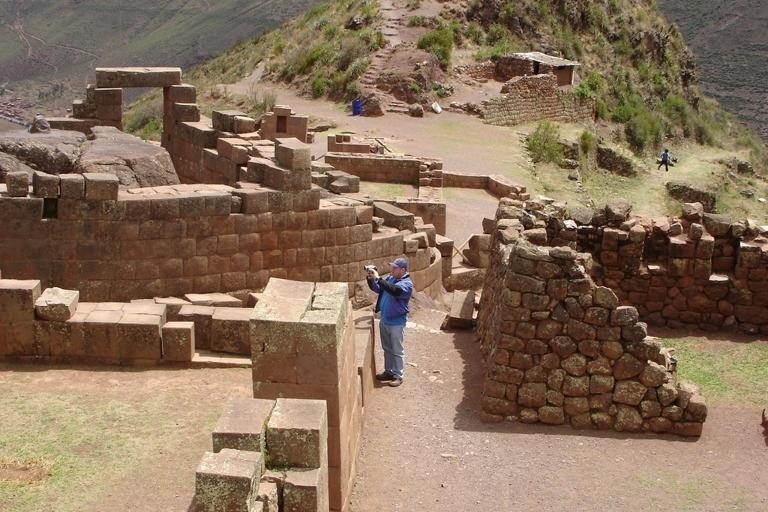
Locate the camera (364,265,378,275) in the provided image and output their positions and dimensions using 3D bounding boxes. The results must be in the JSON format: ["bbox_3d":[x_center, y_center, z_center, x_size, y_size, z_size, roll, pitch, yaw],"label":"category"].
[{"bbox_3d":[-0.247,0.242,14.199,0.191,0.082,0.185,6,14,-11],"label":"camera"}]

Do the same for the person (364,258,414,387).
[{"bbox_3d":[0.073,1.050,14.705,0.732,2.045,1.204,1,19,-1],"label":"person"}]

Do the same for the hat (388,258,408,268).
[{"bbox_3d":[0.244,0.162,14.629,0.281,0.146,0.179,5,23,-2],"label":"hat"}]

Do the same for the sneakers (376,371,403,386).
[{"bbox_3d":[0.083,2.080,14.542,0.491,0.209,0.179,6,1,2],"label":"sneakers"}]

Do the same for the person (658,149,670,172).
[{"bbox_3d":[13.718,-4.630,41.913,0.538,0.982,1.772,7,19,17],"label":"person"}]
